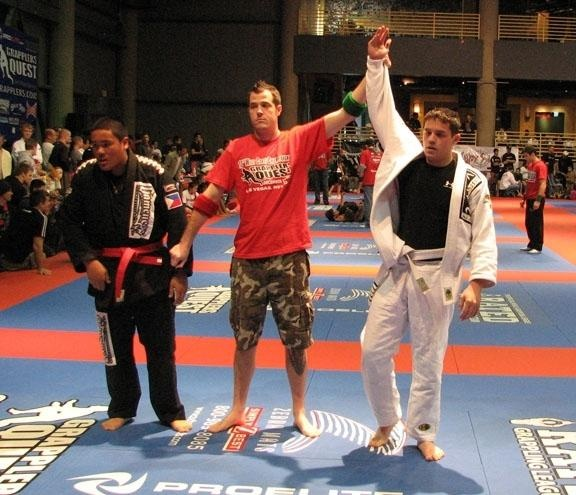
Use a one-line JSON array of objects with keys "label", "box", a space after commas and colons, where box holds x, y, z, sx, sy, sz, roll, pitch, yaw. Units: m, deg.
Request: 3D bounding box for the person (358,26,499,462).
[{"label": "person", "box": [0.748, -0.054, 2.564, 0.698, 2.248, 0.397, 1, 4, 15]}]

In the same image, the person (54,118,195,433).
[{"label": "person", "box": [-0.979, 0.203, 2.849, 0.758, 1.899, 0.369, -1, 4, -13]}]

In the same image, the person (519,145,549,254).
[{"label": "person", "box": [5.171, -0.986, 9.861, 0.405, 2.234, 0.681, 2, 5, 26]}]

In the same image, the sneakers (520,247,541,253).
[{"label": "sneakers", "box": [5.196, 0.052, 10.029, 0.305, 0.128, 0.112, 5, -1, 2]}]
